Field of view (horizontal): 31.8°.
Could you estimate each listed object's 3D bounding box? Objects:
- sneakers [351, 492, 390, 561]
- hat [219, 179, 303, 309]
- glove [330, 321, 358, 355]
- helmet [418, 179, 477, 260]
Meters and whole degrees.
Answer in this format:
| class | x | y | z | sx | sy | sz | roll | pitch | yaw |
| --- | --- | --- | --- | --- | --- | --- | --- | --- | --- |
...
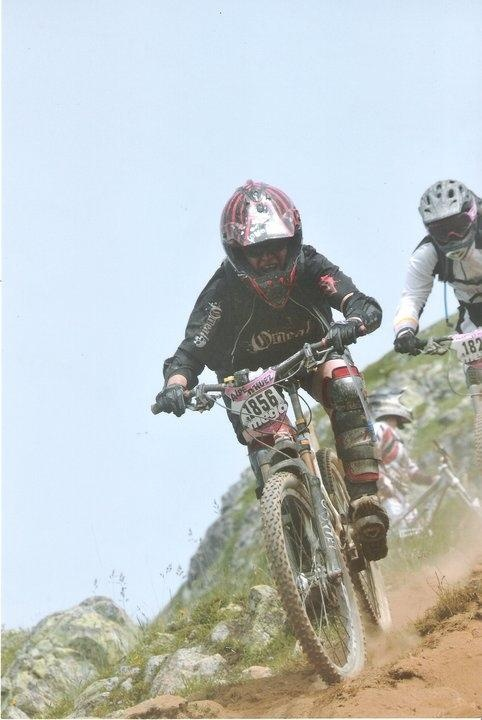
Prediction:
| class | x | y | z | sx | sy | sz | roll | pitch | yaw |
| --- | --- | --- | --- | --- | --- | --- | --- | --- | --- |
| sneakers | 0.816 | 1.067 | 5.301 | 0.212 | 0.380 | 0.179 | -4 | 12 | -3 |
| hat | 0.158 | -0.862 | 5.787 | 0.551 | 0.964 | 0.391 | -18 | -12 | -4 |
| glove | 0.628 | -0.145 | 5.084 | 0.194 | 0.124 | 0.198 | -26 | -14 | 23 |
| helmet | 1.754 | -1.195 | 6.988 | 0.460 | 0.498 | 0.328 | -23 | -13 | 15 |
